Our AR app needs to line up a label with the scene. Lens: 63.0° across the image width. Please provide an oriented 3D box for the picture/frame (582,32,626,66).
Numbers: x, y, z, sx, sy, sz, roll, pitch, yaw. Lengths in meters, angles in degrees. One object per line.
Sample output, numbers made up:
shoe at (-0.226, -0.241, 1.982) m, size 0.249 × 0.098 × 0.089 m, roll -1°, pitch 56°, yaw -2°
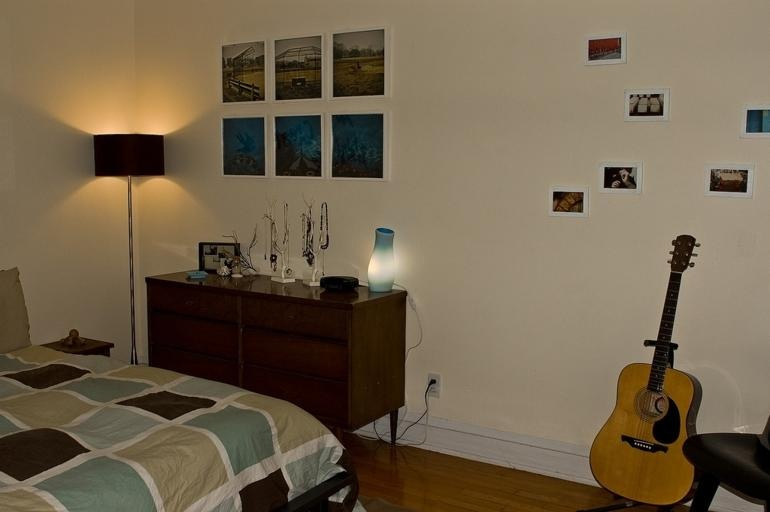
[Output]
picture/frame at (1.370, -1.284, 3.905) m, size 0.221 × 0.170 × 0.010 m, roll 1°, pitch 5°, yaw 29°

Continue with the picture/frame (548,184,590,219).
picture/frame at (1.192, -0.351, 4.042) m, size 0.209 × 0.185 × 0.015 m, roll 2°, pitch 4°, yaw 28°

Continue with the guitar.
guitar at (1.499, 0.629, 3.557) m, size 0.521 × 1.497 × 0.396 m, roll 2°, pitch 5°, yaw -2°

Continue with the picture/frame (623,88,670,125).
picture/frame at (1.603, -0.914, 3.839) m, size 0.220 × 0.170 × 0.010 m, roll 4°, pitch 8°, yaw 28°

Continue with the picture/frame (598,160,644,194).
picture/frame at (1.480, -0.492, 3.917) m, size 0.205 × 0.169 × 0.008 m, roll 3°, pitch 7°, yaw 30°
